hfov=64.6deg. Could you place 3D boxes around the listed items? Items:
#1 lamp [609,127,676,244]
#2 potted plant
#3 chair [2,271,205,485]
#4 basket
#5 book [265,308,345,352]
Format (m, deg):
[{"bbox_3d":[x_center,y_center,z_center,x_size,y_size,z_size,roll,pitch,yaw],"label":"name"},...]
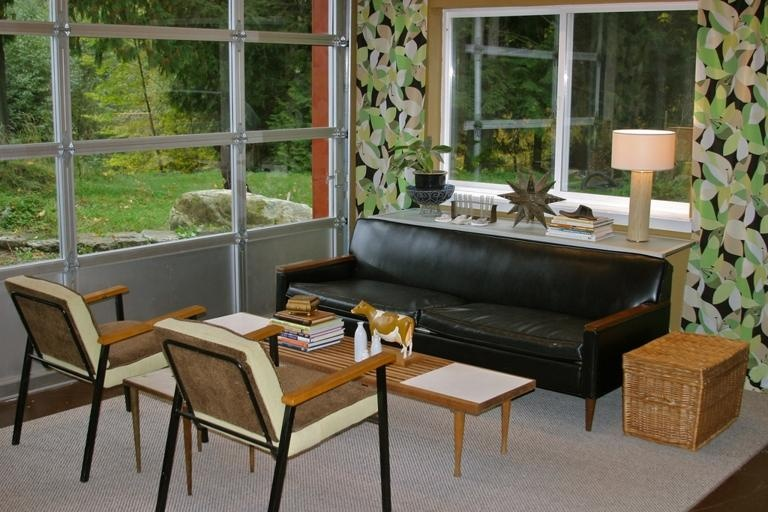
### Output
[{"bbox_3d":[1.954,-0.546,4.639,0.435,0.812,0.464,9,18,26],"label":"lamp"},{"bbox_3d":[0.351,-0.764,5.686,0.552,0.664,0.677,1,16,0],"label":"potted plant"},{"bbox_3d":[-1.811,0.540,4.172,1.076,1.444,1.317,12,17,33],"label":"chair"},{"bbox_3d":[2.048,0.863,4.109,0.544,0.560,0.861,6,8,40],"label":"basket"},{"bbox_3d":[-0.491,0.497,4.086,0.317,0.150,0.316,10,13,43],"label":"book"}]
